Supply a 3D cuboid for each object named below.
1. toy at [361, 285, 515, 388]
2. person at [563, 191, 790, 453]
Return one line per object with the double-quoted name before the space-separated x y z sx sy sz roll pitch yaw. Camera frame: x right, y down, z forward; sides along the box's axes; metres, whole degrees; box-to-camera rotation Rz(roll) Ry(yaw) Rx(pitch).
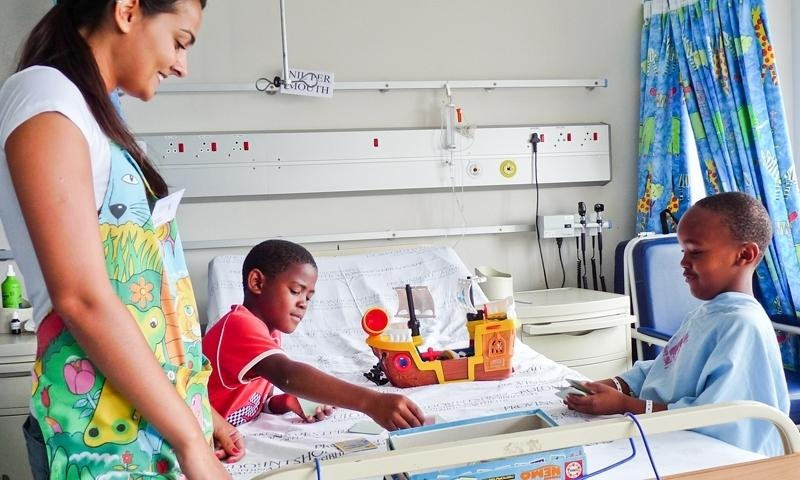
"toy" 0.161 0.375 2.194 0.595 0.371 0.272 -4 -3 0
"person" 0.996 0.292 1.991 0.662 0.870 0.794 0 2 -45
